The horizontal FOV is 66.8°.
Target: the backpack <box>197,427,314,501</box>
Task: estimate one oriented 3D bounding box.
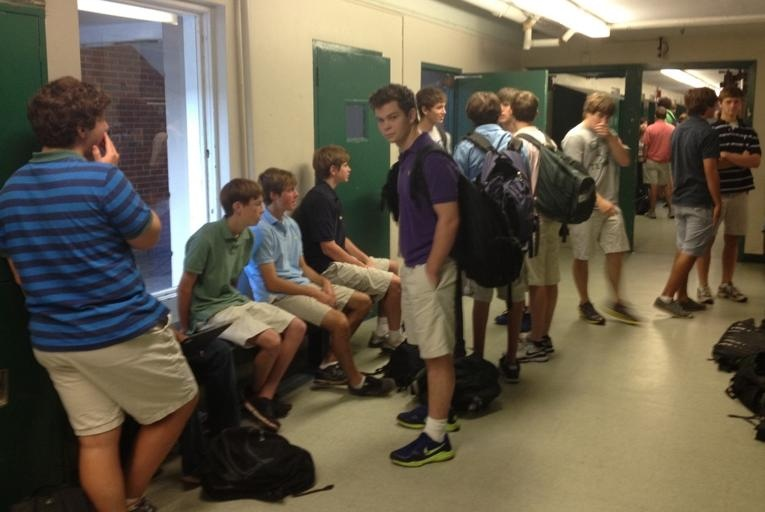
[{"bbox_3d":[-0.815,1.333,3.715,0.572,0.215,0.409,8,31,-12],"label":"backpack"}]

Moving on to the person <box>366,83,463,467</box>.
[{"bbox_3d":[0.243,0.120,3.929,0.541,2.495,0.690,-2,14,-1],"label":"person"}]

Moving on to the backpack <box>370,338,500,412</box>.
[{"bbox_3d":[0.528,0.955,4.579,0.685,0.262,0.491,9,8,-14],"label":"backpack"}]

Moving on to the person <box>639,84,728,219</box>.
[{"bbox_3d":[3.447,-1.107,6.386,0.595,1.449,0.427,10,18,39],"label":"person"}]

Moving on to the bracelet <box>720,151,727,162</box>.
[{"bbox_3d":[3.906,-1.149,6.656,0.097,0.095,0.034,-2,-1,36],"label":"bracelet"}]
